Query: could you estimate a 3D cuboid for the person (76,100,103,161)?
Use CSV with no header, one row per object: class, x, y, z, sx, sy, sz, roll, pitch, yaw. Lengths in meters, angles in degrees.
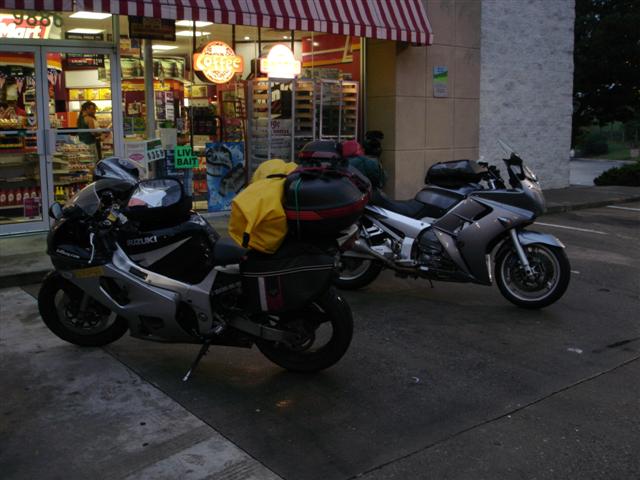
person,-4.349,-2.074,9.176,0.404,1.089,0.253,-6,14,-28
